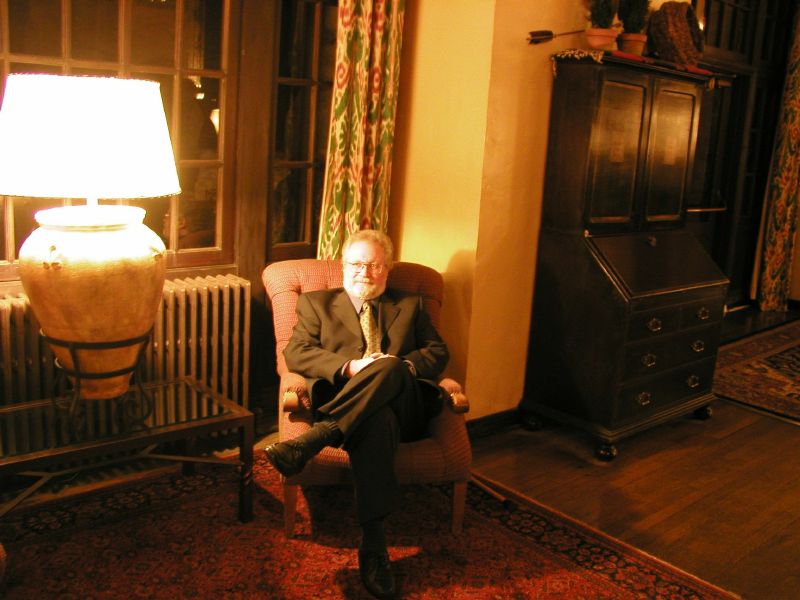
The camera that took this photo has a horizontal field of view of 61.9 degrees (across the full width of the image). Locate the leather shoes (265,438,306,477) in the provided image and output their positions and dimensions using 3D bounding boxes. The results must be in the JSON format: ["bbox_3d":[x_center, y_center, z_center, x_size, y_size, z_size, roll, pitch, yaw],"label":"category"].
[{"bbox_3d":[-0.439,0.598,2.540,0.078,0.088,0.183,-31,-29,4],"label":"leather shoes"}]

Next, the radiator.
[{"bbox_3d":[-1.147,0.254,2.708,0.881,0.504,0.143,-8,22,-42],"label":"radiator"}]

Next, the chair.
[{"bbox_3d":[-0.135,0.353,3.159,1.039,1.243,1.188,-1,13,-7],"label":"chair"}]

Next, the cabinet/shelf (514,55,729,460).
[{"bbox_3d":[1.294,-0.276,3.789,1.162,2.134,0.652,-15,18,-40],"label":"cabinet/shelf"}]

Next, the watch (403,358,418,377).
[{"bbox_3d":[0.036,0.284,2.856,0.053,0.066,0.059,11,-40,-44],"label":"watch"}]
